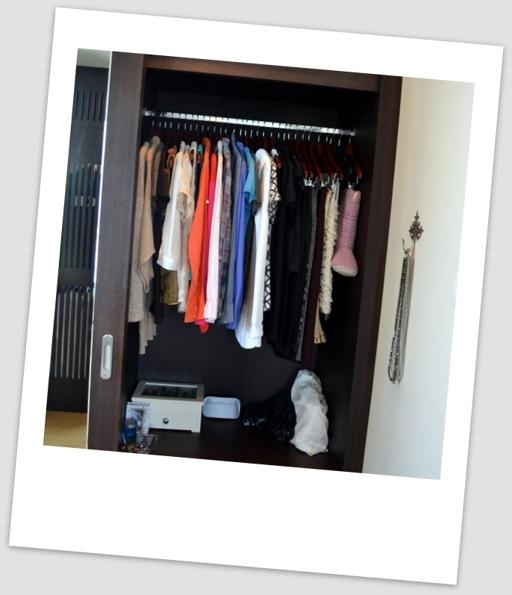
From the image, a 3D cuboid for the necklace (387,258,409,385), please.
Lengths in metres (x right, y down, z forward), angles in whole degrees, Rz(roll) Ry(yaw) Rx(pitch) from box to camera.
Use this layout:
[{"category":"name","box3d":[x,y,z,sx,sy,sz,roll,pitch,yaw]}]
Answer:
[{"category":"necklace","box3d":[0.491,0.074,1.867,0.022,0.431,0.105,3,2,-7]}]

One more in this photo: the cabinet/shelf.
[{"category":"cabinet/shelf","box3d":[-0.026,-0.172,2.085,0.824,2.156,0.573,7,1,-3]}]
